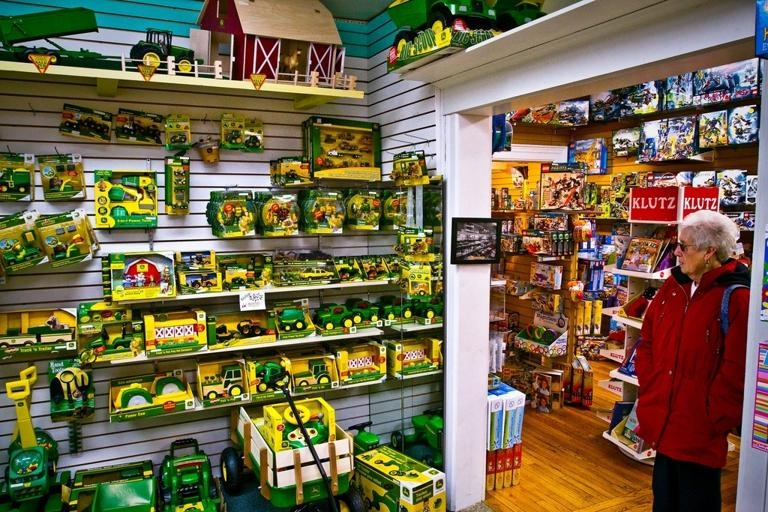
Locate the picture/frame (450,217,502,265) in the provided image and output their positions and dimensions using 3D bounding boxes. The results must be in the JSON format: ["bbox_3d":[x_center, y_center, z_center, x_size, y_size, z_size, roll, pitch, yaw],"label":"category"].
[{"bbox_3d":[0.786,-0.137,4.631,0.453,0.340,0.034,-1,3,-21],"label":"picture/frame"}]

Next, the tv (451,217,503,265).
[{"bbox_3d":[0.791,-0.134,4.633,0.455,0.342,0.034,-1,3,-21],"label":"tv"}]
